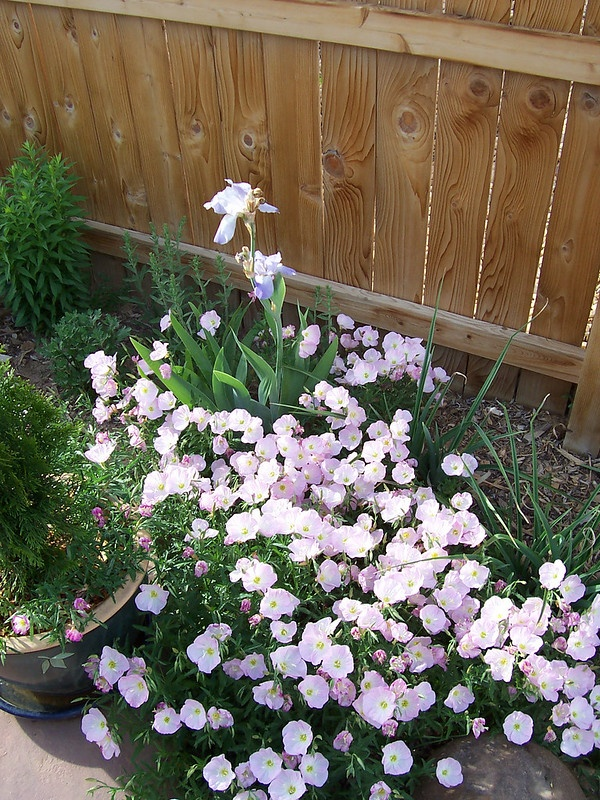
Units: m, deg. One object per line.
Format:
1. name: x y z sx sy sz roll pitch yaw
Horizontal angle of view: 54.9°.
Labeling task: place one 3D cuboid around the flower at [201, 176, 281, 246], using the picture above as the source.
1. flower: -0.116 -0.428 1.317 0.144 0.126 0.164 -11 1 30
